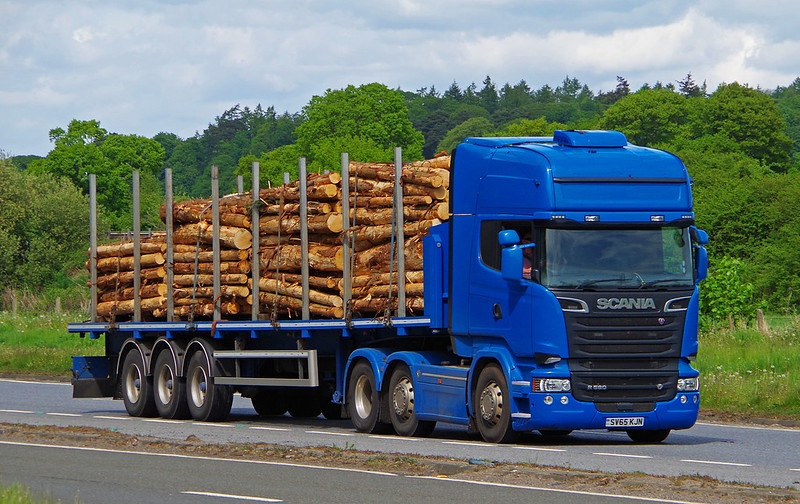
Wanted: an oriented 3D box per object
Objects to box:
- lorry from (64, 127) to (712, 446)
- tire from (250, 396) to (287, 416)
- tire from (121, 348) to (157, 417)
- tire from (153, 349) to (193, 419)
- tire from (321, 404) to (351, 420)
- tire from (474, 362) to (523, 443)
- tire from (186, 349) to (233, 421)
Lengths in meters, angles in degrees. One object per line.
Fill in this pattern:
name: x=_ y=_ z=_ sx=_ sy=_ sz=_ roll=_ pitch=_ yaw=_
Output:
lorry: x=-1.624 y=0.929 z=26.154 sx=17.075 sy=7.241 sz=3.622 roll=-8 pitch=-4 yaw=36
tire: x=-3.277 y=3.860 z=28.481 sx=0.646 sy=0.621 sz=0.622 roll=1 pitch=-2 yaw=-28
tire: x=-6.541 y=3.281 z=28.572 sx=0.602 sy=1.769 sz=1.629 roll=-3 pitch=6 yaw=-26
tire: x=-5.514 y=3.234 z=27.711 sx=0.628 sy=1.868 sz=1.702 roll=0 pitch=-3 yaw=-32
tire: x=-1.635 y=3.951 z=28.158 sx=0.812 sy=0.191 sz=0.795 roll=3 pitch=-11 yaw=-7
tire: x=1.916 y=2.882 z=21.740 sx=0.681 sy=1.866 sz=1.430 roll=3 pitch=-8 yaw=-32
tire: x=-4.509 y=3.155 z=26.966 sx=0.656 sy=1.941 sz=1.728 roll=1 pitch=-2 yaw=-40
